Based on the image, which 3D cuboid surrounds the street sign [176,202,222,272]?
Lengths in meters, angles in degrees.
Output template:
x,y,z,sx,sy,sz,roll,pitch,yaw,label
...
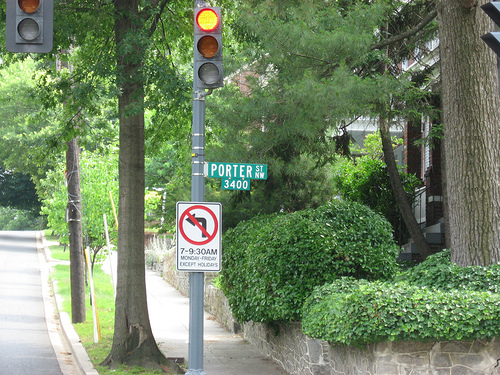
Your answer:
x,y,z,sx,sy,sz,roll,pitch,yaw,label
-1.212,1.191,27.945,1.096,1.686,0.236,-2,-3,-10,street sign
